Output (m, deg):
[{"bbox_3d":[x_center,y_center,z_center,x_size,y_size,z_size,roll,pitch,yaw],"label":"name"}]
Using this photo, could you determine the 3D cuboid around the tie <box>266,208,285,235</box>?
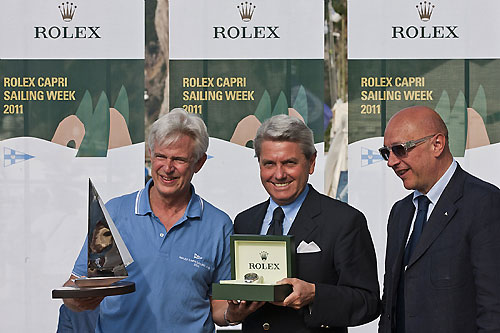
[{"bbox_3d":[0.218,0.518,8.793,0.090,0.319,0.074,13,-25,14],"label":"tie"}]

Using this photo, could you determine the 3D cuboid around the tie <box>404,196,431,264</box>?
[{"bbox_3d":[1.485,0.561,8.947,0.136,0.862,0.112,13,-17,-1],"label":"tie"}]
